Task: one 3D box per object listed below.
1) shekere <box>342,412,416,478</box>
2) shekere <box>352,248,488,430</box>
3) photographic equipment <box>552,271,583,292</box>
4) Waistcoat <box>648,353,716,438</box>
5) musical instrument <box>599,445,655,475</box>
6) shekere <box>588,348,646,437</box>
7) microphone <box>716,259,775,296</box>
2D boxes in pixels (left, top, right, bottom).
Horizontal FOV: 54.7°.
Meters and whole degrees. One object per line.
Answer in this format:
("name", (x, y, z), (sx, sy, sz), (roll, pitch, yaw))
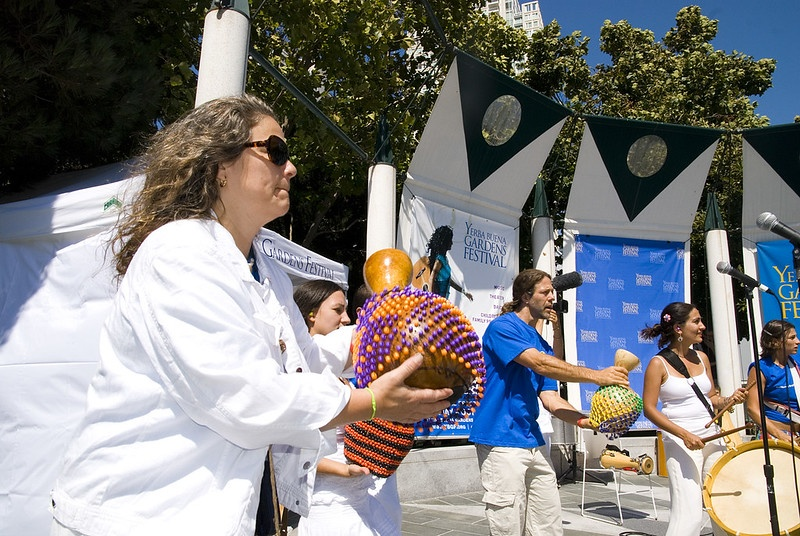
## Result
("shekere", (-0.189, 1.502, 6.582), (0.537, 0.400, 0.479), (-5, -17, 18))
("shekere", (0.025, 0.507, 6.456), (0.900, 1.445, 0.812), (6, -48, -35))
("photographic equipment", (1.936, 0.156, 8.950), (0.297, 0.244, 0.265), (-3, 1, 18))
("Waistcoat", (3.339, 1.515, 9.183), (0.758, 1.137, 0.584), (9, -25, -26))
("musical instrument", (2.858, 2.430, 9.651), (0.667, 0.359, 0.331), (3, -20, 43))
("shekere", (2.344, 1.327, 8.404), (0.511, 0.956, 0.999), (6, -9, 15))
("microphone", (5.797, 0.166, 12.924), (1.113, 0.302, 0.266), (36, -35, -5))
